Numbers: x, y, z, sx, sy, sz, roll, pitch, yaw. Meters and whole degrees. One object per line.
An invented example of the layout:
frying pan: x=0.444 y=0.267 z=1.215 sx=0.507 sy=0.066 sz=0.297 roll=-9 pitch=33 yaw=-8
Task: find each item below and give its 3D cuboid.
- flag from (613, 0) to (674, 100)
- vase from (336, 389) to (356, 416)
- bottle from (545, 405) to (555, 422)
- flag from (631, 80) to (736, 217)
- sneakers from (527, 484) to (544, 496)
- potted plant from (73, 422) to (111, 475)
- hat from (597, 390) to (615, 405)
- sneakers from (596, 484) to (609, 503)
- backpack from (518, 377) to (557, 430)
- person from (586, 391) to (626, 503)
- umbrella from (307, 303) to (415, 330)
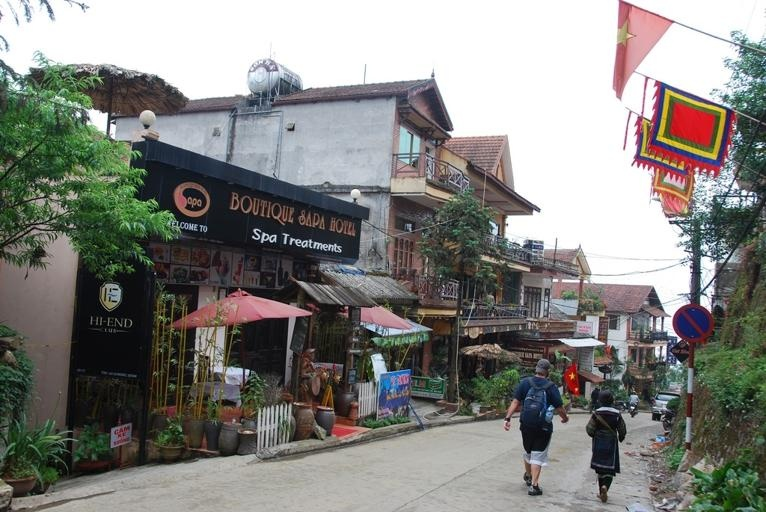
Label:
flag: x=5.756 y=-4.867 z=14.356 sx=0.682 sy=2.221 sz=1.572 roll=3 pitch=-4 yaw=-13
vase: x=-1.042 y=4.099 z=17.374 sx=0.528 sy=0.635 sz=0.208 roll=2 pitch=-3 yaw=-1
bottle: x=3.331 y=3.159 z=12.545 sx=0.100 sy=0.323 sz=0.284 roll=0 pitch=-4 yaw=33
flag: x=8.490 y=-2.478 z=18.511 sx=1.953 sy=2.218 sz=9.803 roll=1 pitch=-5 yaw=22
sneakers: x=3.001 y=4.564 z=12.361 sx=0.276 sy=0.204 sz=0.389 roll=1 pitch=-4 yaw=13
potted plant: x=-6.113 y=4.042 z=13.410 sx=0.889 sy=0.947 sz=0.913 roll=4 pitch=-4 yaw=-17
hat: x=4.533 y=2.903 z=12.735 sx=0.296 sy=0.344 sz=0.332 roll=4 pitch=3 yaw=30
sneakers: x=4.220 y=4.552 z=12.106 sx=0.128 sy=0.366 sz=0.151 roll=-9 pitch=2 yaw=20
backpack: x=3.100 y=2.961 z=12.605 sx=0.645 sy=0.998 sz=0.448 roll=1 pitch=-3 yaw=13
person: x=4.505 y=3.747 z=12.697 sx=0.711 sy=2.044 sz=1.371 roll=1 pitch=-4 yaw=21
umbrella: x=-0.197 y=1.812 z=18.754 sx=2.789 sy=0.700 sz=0.751 roll=6 pitch=-5 yaw=-36
